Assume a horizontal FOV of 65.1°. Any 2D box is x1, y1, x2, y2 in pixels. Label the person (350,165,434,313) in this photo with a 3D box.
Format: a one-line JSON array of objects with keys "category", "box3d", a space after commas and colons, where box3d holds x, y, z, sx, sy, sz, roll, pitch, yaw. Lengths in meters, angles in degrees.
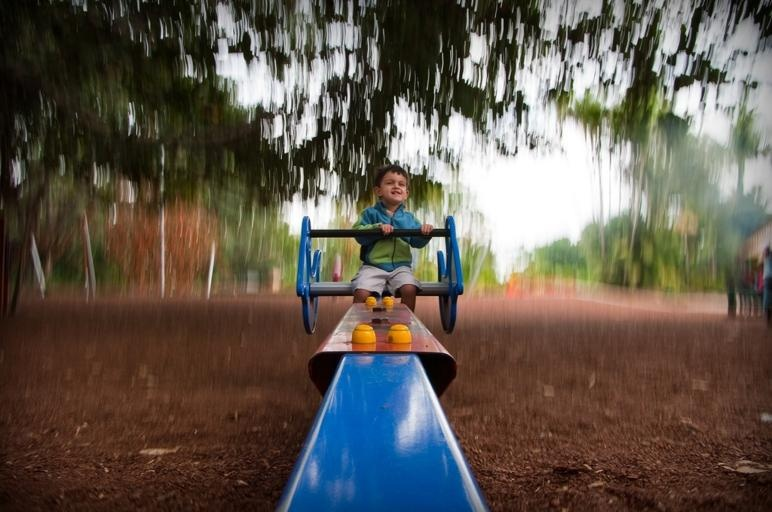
[{"category": "person", "box3d": [0.036, 0.019, 4.080, 0.393, 1.300, 0.498, 3, -7, -18]}]
